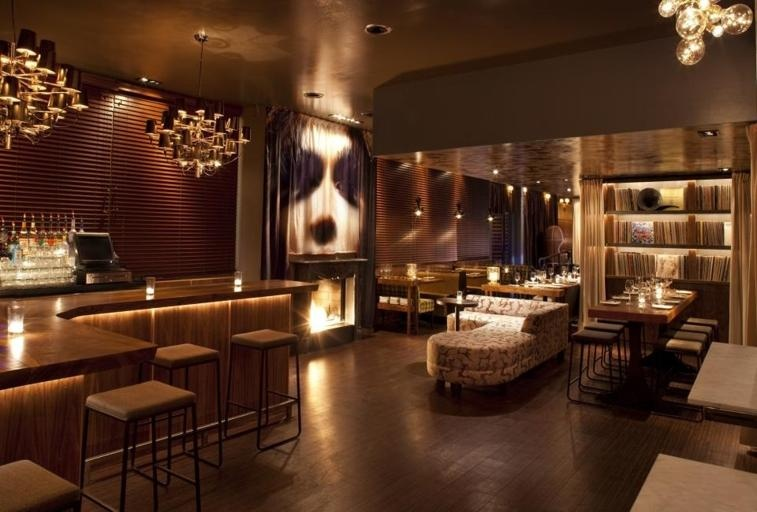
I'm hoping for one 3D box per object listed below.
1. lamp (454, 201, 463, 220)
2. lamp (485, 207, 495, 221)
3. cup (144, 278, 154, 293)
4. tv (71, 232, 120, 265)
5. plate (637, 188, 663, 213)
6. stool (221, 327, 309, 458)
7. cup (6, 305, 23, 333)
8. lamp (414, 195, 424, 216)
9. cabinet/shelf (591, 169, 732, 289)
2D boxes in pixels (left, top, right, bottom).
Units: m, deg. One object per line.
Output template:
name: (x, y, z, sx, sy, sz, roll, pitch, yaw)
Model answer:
lamp: (1.916, -1.066, 12.387, 0.211, 0.442, 0.695, 1, 8, 9)
lamp: (2.914, -1.054, 13.592, 0.315, 0.311, 0.312, -2, 4, 22)
cup: (-2.216, 0.289, 5.092, 0.066, 0.150, 0.064, 0, 9, 0)
tv: (-3.367, -0.085, 6.209, 0.213, 0.345, 0.380, -24, -18, 31)
plate: (4.621, -0.953, 8.940, 0.387, 0.387, 0.306, 6, 5, 38)
stool: (-1.061, 1.287, 5.732, 0.809, 1.118, 1.327, 4, 9, 23)
cup: (-2.569, 0.452, 3.722, 0.096, 0.196, 0.067, -6, 11, -34)
lamp: (0.877, -1.049, 11.152, 0.195, 0.444, 0.566, 1, 8, 4)
cabinet/shelf: (4.784, -0.461, 8.728, 2.000, 1.602, 0.591, 1, 1, 40)
